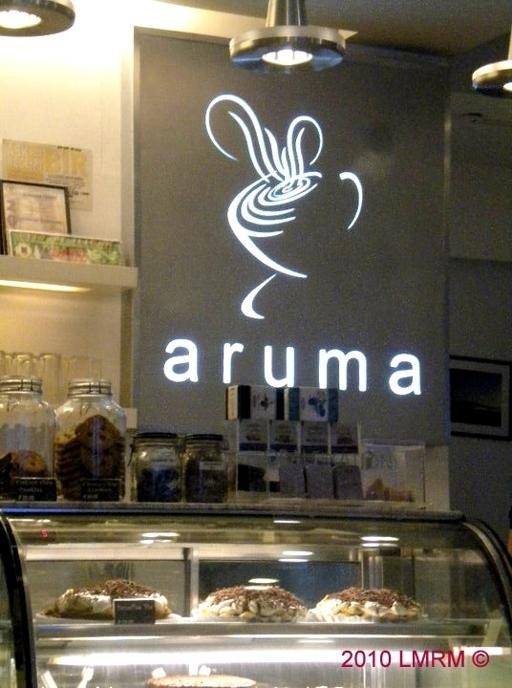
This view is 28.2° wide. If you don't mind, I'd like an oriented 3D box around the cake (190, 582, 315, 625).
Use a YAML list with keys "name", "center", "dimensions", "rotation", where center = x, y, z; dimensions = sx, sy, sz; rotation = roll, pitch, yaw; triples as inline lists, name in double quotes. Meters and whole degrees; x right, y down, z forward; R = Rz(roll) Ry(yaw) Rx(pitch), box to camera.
- name: "cake"
  center: [-0.013, 0.582, 2.273]
  dimensions: [0.253, 0.082, 0.080]
  rotation: [-2, -10, 1]

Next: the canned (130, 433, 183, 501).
- name: "canned"
  center: [-0.252, 0.317, 2.647]
  dimensions: [0.134, 0.176, 0.171]
  rotation: [1, -13, -7]

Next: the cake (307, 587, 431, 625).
- name: "cake"
  center: [0.245, 0.595, 2.317]
  dimensions: [0.254, 0.076, 0.067]
  rotation: [0, -10, -10]

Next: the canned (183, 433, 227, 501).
- name: "canned"
  center: [-0.139, 0.337, 2.728]
  dimensions: [0.130, 0.238, 0.127]
  rotation: [4, -14, -18]

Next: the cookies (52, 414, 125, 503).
- name: "cookies"
  center: [-0.429, 0.292, 2.567]
  dimensions: [0.183, 0.261, 0.138]
  rotation: [4, -11, -26]
